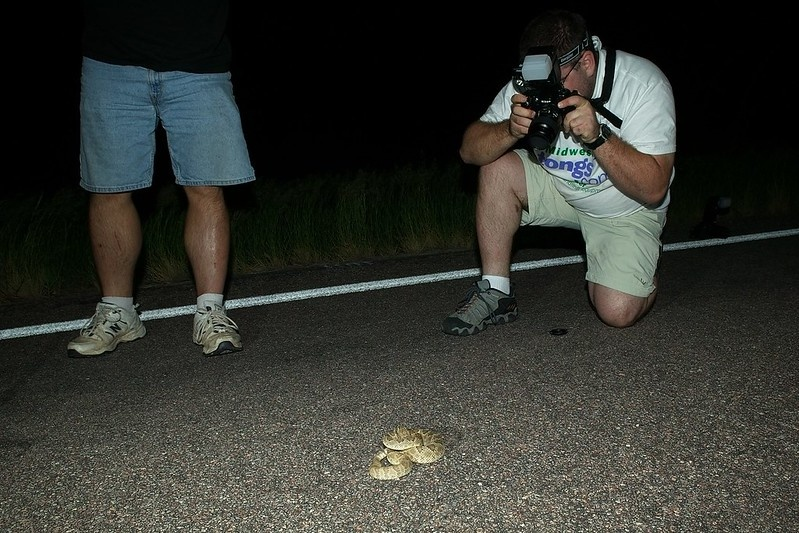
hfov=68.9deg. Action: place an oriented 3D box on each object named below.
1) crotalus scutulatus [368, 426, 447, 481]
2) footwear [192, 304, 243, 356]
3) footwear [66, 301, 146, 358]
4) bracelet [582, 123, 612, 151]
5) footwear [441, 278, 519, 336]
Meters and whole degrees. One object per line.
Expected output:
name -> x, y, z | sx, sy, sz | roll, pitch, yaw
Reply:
crotalus scutulatus -> 0.026, 0.815, 2.620 | 0.251, 0.101, 0.396 | 18, 24, 41
footwear -> -1.154, 0.401, 3.660 | 0.265, 0.222, 0.328 | -14, 25, -22
footwear -> -1.813, 0.378, 3.742 | 0.206, 0.256, 0.520 | 10, 17, 28
bracelet -> 1.196, -0.772, 3.511 | 0.135, 0.149, 0.092 | -15, 25, -25
footwear -> 0.535, 0.240, 3.925 | 0.594, 0.276, 0.228 | -14, 24, -26
